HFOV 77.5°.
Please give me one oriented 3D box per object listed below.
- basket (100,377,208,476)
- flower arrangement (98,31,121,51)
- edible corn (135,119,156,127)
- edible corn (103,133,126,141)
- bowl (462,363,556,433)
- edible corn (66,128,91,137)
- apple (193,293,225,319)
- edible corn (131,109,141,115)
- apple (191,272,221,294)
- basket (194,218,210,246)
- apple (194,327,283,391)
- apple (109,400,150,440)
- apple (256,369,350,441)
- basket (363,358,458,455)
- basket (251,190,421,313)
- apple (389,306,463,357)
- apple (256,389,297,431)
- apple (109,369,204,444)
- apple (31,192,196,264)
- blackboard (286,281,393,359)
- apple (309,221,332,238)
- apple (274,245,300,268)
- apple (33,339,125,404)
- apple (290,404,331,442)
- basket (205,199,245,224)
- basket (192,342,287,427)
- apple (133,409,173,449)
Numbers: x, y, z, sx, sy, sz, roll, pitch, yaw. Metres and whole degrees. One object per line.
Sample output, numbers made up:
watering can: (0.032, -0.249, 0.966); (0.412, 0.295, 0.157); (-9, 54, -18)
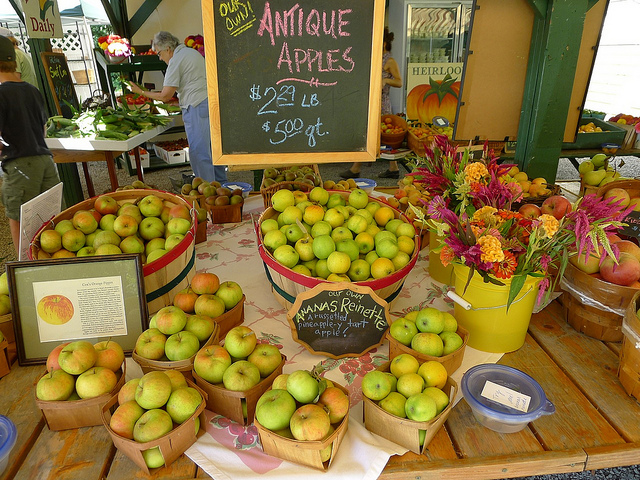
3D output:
basket: (-0.501, 0.606, 1.253); (0.204, 0.141, 0.265); (28, 41, 30)
flower arrangement: (-2.817, -2.730, 5.374); (0.151, 0.237, 0.323); (46, 49, -2)
edible corn: (-1.986, -1.325, 4.555); (0.222, 0.063, 0.065); (4, -4, -15)
edible corn: (-2.069, -1.033, 4.001); (0.173, 0.045, 0.115); (24, 18, 26)
bowl: (0.609, 0.539, 1.324); (0.270, 0.124, 0.272); (-3, 17, 1)
edible corn: (-2.508, -1.117, 4.148); (0.303, 0.063, 0.115); (11, 27, 20)
apple: (-0.440, 0.241, 1.587); (0.094, 0.091, 0.095); (31, 12, 34)
edible corn: (-2.132, -1.480, 4.612); (0.098, 0.030, 0.203); (-8, 27, -17)
apple: (-0.468, 0.177, 1.636); (0.086, 0.067, 0.086); (8, 0, 44)
basket: (-0.663, -0.041, 2.218); (0.102, 0.084, 0.082); (-30, 50, -32)
apple: (-0.283, 0.361, 1.314); (0.215, 0.097, 0.169); (12, 30, 25)
apple: (-0.578, 0.527, 1.223); (0.088, 0.092, 0.107); (17, 17, 24)
apple: (-0.054, 0.499, 1.191); (0.205, 0.111, 0.191); (-9, 32, -18)
basket: (0.301, 0.488, 1.255); (0.218, 0.119, 0.226); (21, 35, 34)
basket: (-0.019, 0.042, 1.785); (0.566, 0.237, 0.586); (4, 36, -2)
apple: (0.398, 0.333, 1.445); (0.175, 0.112, 0.193); (-9, 16, -29)
apple: (-0.149, 0.530, 1.229); (0.112, 0.096, 0.126); (-4, -3, 1)
apple: (-0.497, 0.508, 1.208); (0.201, 0.103, 0.181); (14, 38, 5)
apple: (-0.914, -0.051, 1.785); (0.406, 0.143, 0.405); (-7, 21, -19)
blackboard: (0.085, 0.312, 1.538); (0.406, 0.336, 0.010); (3, 16, -6)
apple: (0.003, -0.048, 1.724); (0.068, 0.083, 0.070); (25, -8, 6)
apple: (-0.135, 0.066, 1.689); (0.100, 0.090, 0.088); (4, -8, 26)
apple: (-0.778, 0.429, 1.305); (0.211, 0.118, 0.238); (7, 19, 4)
apple: (-0.031, 0.535, 1.166); (0.113, 0.059, 0.090); (3, 25, 5)
basket: (-0.598, -0.178, 2.483); (0.169, 0.088, 0.153); (-1, 20, -6)
basket: (-0.300, 0.460, 1.407); (0.214, 0.184, 0.300); (14, 18, 35)
apple: (-0.493, 0.543, 1.172); (0.103, 0.074, 0.105); (-1, 19, -5)
